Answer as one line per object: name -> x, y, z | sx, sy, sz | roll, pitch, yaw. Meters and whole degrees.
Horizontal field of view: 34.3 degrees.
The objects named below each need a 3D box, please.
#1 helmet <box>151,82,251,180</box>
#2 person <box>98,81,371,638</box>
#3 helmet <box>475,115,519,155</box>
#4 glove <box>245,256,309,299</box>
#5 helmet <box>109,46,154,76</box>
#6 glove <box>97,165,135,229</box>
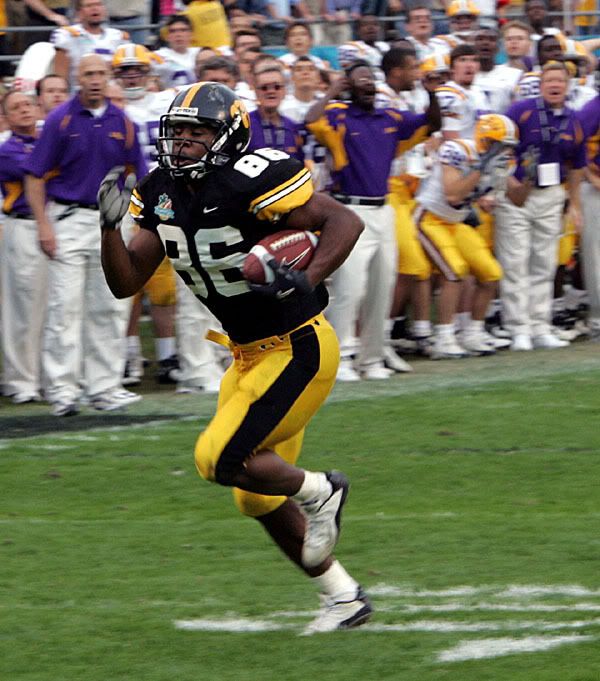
helmet -> -0.280, -0.613, 2.837 | 0.176, 0.276, 0.247 | 10, 18, 42
person -> -0.185, 0.048, 2.885 | 0.779, 1.623, 0.574 | -3, 15, 3
helmet -> 1.275, -1.358, 6.360 | 0.276, 0.245, 0.174 | -1, 14, 7
glove -> -0.069, -0.174, 2.687 | 0.122, 0.081, 0.185 | -15, -11, 39
helmet -> -1.125, -1.902, 6.522 | 0.241, 0.106, 0.287 | -8, 0, 2
glove -> -0.530, -0.418, 2.822 | 0.112, 0.179, 0.288 | -5, 12, -9
